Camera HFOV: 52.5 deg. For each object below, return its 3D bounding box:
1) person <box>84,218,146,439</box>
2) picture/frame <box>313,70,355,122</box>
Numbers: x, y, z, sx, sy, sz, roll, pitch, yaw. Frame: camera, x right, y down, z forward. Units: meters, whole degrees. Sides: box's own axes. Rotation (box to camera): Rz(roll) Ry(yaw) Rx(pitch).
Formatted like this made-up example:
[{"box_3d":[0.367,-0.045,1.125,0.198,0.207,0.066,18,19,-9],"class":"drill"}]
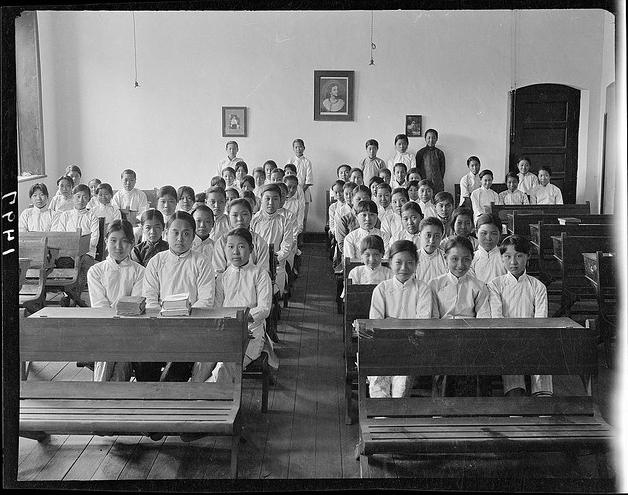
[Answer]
[{"box_3d":[-1.367,0.400,4.483,0.342,1.162,0.350,-1,23,-18],"class":"person"},{"box_3d":[0.200,-1.538,6.421,0.386,0.569,0.044,-1,42,0],"class":"picture/frame"}]
